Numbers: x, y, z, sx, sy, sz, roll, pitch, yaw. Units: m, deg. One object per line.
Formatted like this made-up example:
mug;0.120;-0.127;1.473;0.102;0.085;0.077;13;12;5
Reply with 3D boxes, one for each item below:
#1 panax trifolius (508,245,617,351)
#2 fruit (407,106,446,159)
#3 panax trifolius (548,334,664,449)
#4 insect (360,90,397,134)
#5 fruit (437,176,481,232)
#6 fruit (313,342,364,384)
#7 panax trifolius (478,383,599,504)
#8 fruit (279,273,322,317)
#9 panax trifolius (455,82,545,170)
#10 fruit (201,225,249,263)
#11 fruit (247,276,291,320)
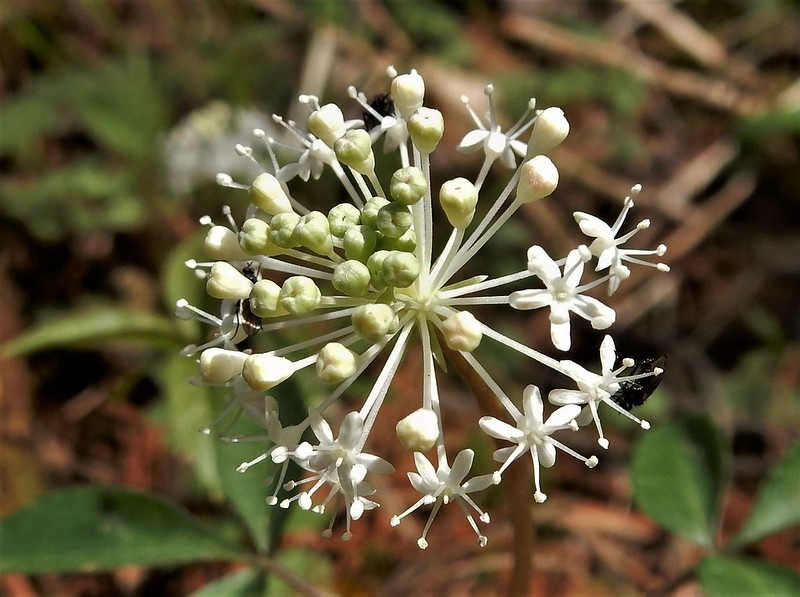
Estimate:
panax trifolius;1.238;-0.150;6.547;0.839;0.438;0.914;-5;25;-16
fruit;0.203;-1.319;6.856;0.275;0.325;0.321;2;30;-5
panax trifolius;1.495;0.702;6.582;0.859;0.891;0.367;-4;106;-12
insect;-0.171;-1.568;7.309;0.261;0.112;0.345;22;93;16
fruit;0.462;-0.758;6.759;0.277;0.225;0.406;4;81;0
fruit;-0.493;0.484;6.530;0.286;0.142;0.272;-20;82;-4
panax trifolius;1.019;1.049;6.527;0.941;0.957;0.327;-16;42;6
fruit;-0.795;-0.026;6.676;0.315;0.144;0.292;-31;83;-5
panax trifolius;0.843;-1.441;7.159;0.798;0.793;0.570;27;105;28
fruit;-1.387;-0.412;7.012;0.367;0.415;0.256;16;81;3
fruit;-1.092;-0.009;6.729;0.241;0.339;0.278;3;82;31
